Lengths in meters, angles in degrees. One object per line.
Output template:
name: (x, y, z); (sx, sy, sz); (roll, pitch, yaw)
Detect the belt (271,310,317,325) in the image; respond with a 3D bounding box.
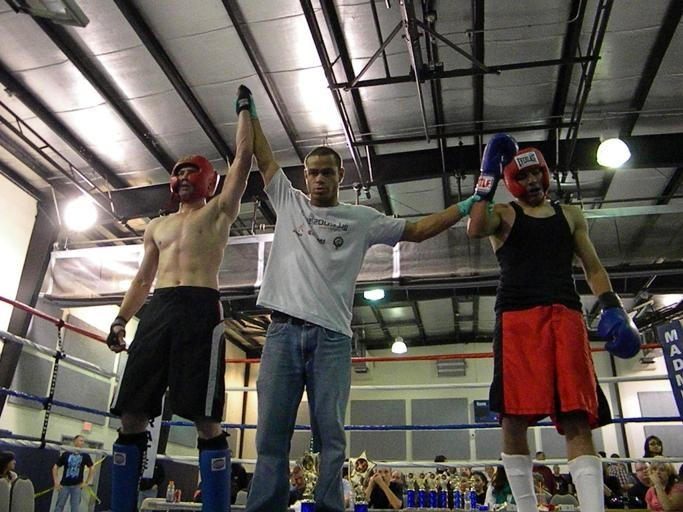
belt: (-0.267, 0.314, 2.382); (0.102, 0.026, 0.102); (3, -16, 41)

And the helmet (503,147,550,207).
helmet: (1.021, -0.436, 2.821); (0.237, 0.278, 0.307); (-29, -11, 2)

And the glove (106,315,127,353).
glove: (-1.274, 0.435, 2.729); (0.088, 0.214, 0.125); (5, -16, -9)

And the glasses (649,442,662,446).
glasses: (3.961, 2.371, 6.066); (0.086, 0.024, 0.080); (4, -12, 7)

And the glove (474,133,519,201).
glove: (0.880, -0.501, 2.782); (0.266, 0.417, 0.173); (15, -9, 19)
